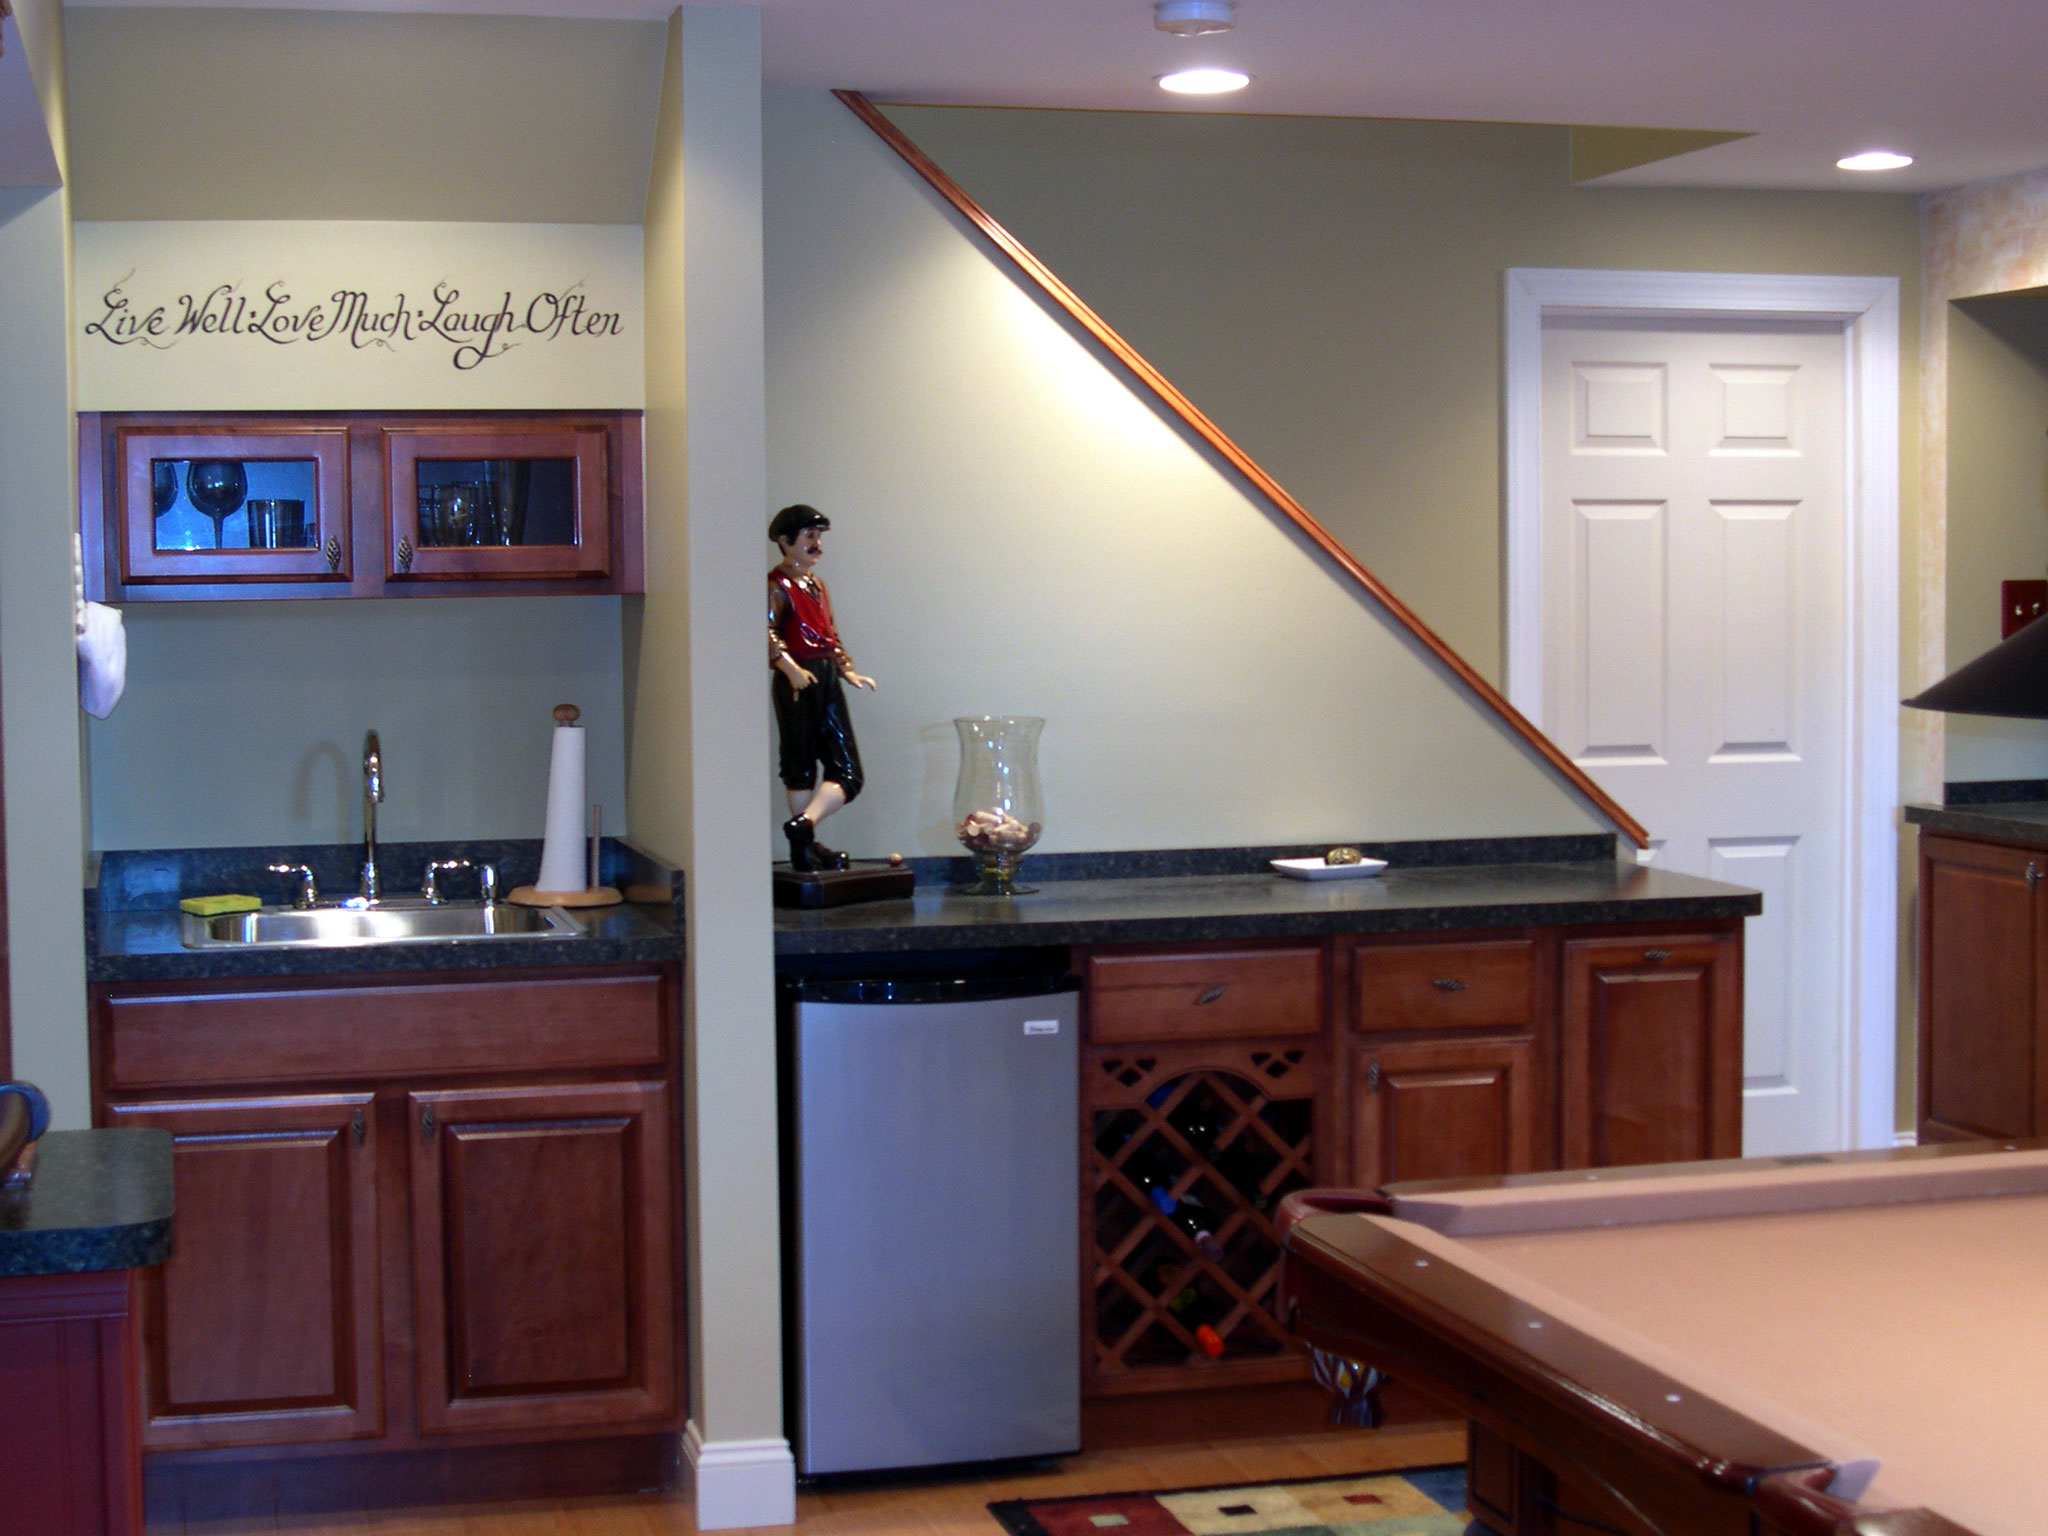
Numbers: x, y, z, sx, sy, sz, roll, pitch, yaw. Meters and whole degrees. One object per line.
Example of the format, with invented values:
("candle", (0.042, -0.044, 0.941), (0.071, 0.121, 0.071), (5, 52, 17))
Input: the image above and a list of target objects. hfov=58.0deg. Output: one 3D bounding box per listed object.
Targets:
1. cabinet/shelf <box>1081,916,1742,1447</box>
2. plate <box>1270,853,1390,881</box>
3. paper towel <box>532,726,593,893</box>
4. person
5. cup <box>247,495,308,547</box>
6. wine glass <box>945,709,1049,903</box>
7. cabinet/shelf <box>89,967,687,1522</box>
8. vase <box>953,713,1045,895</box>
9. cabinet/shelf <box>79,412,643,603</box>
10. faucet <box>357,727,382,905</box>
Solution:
("cabinet/shelf", (0.562, 0.692, 3.161), (1.040, 0.683, 0.331), (-2, 3, -12))
("plate", (0.698, 0.218, 4.131), (0.295, 0.040, 0.148), (0, 9, -16))
("paper towel", (-0.991, 0.074, 3.956), (0.100, 0.355, 0.187), (1, 9, -13))
("person", (-0.438, -0.166, 3.802), (0.199, 0.738, 0.187), (-3, 10, -32))
("cup", (-1.522, -0.505, 3.766), (0.095, 0.105, 0.099), (2, 10, 0))
("wine glass", (-0.056, 0.048, 4.091), (0.313, 0.503, 0.294), (-1, 4, -3))
("cabinet/shelf", (-1.179, 0.825, 3.344), (1.025, 0.969, 0.525), (-1, 1, -11))
("vase", (-0.065, 0.067, 3.929), (0.185, 0.372, 0.165), (2, 8, -2))
("cabinet/shelf", (-1.344, -0.538, 3.873), (1.139, 0.372, 0.327), (0, 5, 2))
("faucet", (-1.407, 0.093, 3.974), (0.046, 0.360, 0.165), (0, 9, -19))
